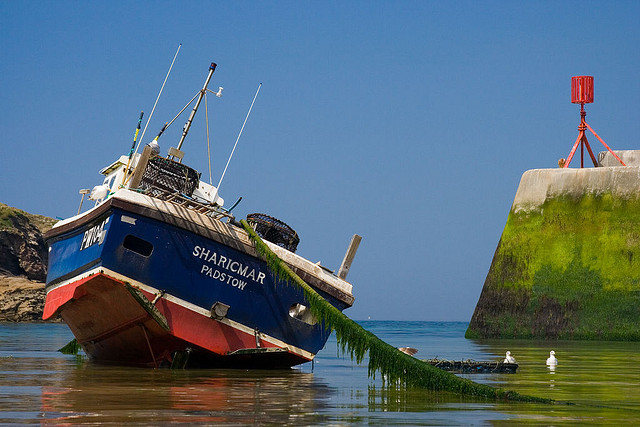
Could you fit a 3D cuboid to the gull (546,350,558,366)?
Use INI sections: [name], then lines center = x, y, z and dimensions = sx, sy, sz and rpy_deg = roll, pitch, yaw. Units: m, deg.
[gull]
center = 10.779, 6.854, 60.411
dimensions = 0.540, 0.652, 0.740
rpy_deg = 2, -25, -3
